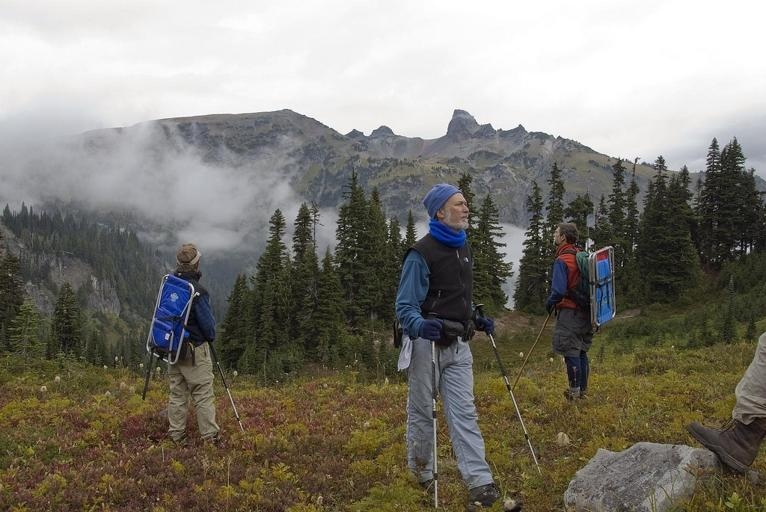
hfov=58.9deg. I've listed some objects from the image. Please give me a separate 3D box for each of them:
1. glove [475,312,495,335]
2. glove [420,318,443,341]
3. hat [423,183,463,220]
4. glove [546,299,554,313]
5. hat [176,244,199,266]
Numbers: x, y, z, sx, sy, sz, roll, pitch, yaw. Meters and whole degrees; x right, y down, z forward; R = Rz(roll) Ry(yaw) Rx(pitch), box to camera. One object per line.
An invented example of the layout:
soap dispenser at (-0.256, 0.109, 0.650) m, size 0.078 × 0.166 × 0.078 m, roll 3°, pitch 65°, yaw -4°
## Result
glove at (3.018, 2.032, 20.394) m, size 0.718 × 0.550 × 0.254 m, roll 11°, pitch 2°, yaw 4°
glove at (1.400, 2.102, 19.486) m, size 0.702 × 0.553 × 0.344 m, roll -3°, pitch 0°, yaw -10°
hat at (1.658, -1.640, 19.998) m, size 1.100 × 0.970 × 0.886 m, roll -8°, pitch 7°, yaw 16°
glove at (5.666, 1.701, 23.078) m, size 0.161 × 0.456 × 0.333 m, roll 2°, pitch -9°, yaw 20°
hat at (-6.384, -0.159, 22.302) m, size 0.572 × 0.746 × 0.407 m, roll 2°, pitch -38°, yaw -2°
